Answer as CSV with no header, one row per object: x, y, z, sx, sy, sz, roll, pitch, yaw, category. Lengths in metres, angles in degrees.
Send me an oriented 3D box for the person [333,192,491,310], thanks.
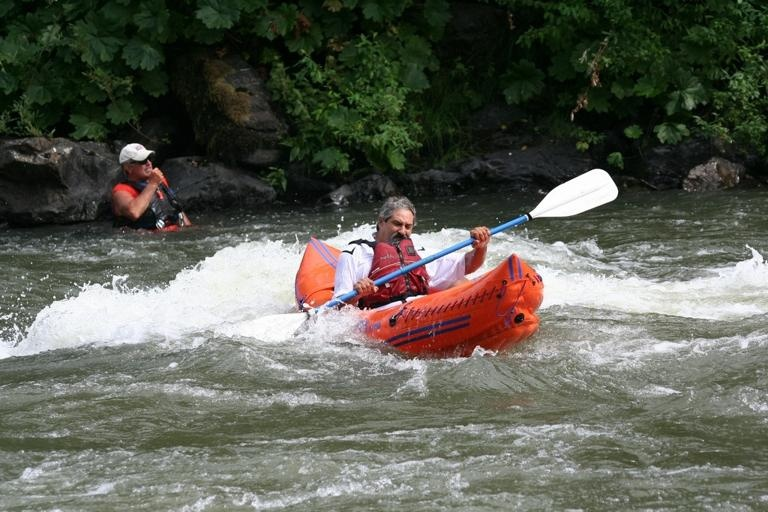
0.309,-0.032,12.741,1.245,0.629,1.760,13,40,-16,person

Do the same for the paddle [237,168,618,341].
0.488,0.008,13.230,6.103,0.772,0.214,-17,-28,-11,paddle

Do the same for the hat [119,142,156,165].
-3.222,-1.342,14.755,0.460,0.204,0.309,-13,3,28,hat

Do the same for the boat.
0.340,0.349,11.448,1.219,0.649,2.042,-11,10,-44,boat
